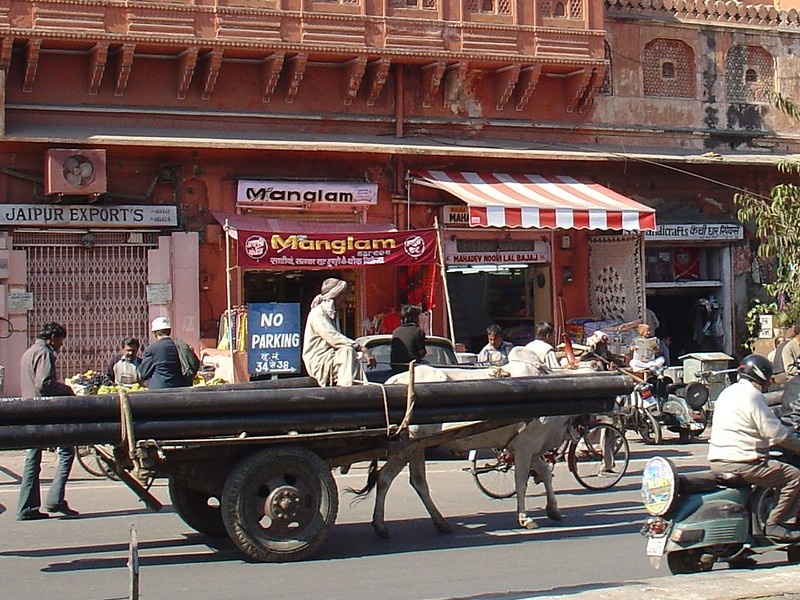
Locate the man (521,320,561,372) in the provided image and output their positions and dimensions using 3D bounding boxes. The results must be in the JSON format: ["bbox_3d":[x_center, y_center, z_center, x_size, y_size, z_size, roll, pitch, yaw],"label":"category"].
[{"bbox_3d":[2.275,0.740,21.593,0.312,1.006,0.496,-11,14,-43],"label":"man"}]

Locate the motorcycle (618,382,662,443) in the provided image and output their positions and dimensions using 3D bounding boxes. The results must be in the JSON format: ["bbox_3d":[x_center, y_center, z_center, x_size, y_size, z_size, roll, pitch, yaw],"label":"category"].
[{"bbox_3d":[4.114,1.897,23.233,0.590,0.957,1.507,20,-7,9],"label":"motorcycle"}]

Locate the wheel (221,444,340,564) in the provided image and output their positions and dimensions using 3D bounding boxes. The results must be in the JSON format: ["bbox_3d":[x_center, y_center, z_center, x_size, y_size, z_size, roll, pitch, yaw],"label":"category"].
[{"bbox_3d":[-1.500,2.484,16.597,1.321,1.376,0.510,5,-3,-15],"label":"wheel"}]

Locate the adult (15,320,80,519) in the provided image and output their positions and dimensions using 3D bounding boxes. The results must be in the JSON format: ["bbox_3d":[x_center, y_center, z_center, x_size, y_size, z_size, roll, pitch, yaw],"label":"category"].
[{"bbox_3d":[-4.880,1.656,18.544,0.810,2.741,0.895,0,1,11],"label":"adult"}]

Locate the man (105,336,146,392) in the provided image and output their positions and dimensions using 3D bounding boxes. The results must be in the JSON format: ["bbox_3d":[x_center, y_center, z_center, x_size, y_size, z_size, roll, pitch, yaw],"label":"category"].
[{"bbox_3d":[-4.336,1.050,21.327,0.588,0.873,0.482,11,1,-8],"label":"man"}]

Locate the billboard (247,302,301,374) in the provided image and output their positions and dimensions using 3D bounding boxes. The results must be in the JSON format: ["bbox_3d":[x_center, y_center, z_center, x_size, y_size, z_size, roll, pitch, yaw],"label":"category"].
[{"bbox_3d":[-2.111,0.645,22.359,1.084,1.480,0.064,-1,-1,-11],"label":"billboard"}]

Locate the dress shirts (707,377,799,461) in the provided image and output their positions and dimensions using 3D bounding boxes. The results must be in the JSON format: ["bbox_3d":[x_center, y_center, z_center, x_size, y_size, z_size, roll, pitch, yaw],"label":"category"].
[{"bbox_3d":[4.162,1.490,16.654,1.070,1.032,0.852,4,-3,-15],"label":"dress shirts"}]

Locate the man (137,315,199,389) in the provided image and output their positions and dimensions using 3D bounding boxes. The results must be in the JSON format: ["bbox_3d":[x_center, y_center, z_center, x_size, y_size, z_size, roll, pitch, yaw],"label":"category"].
[{"bbox_3d":[-3.300,1.037,19.523,0.755,1.634,0.825,0,16,-7],"label":"man"}]

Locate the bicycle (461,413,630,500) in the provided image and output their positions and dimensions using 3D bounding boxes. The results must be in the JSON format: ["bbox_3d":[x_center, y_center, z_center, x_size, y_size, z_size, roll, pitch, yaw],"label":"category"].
[{"bbox_3d":[2.174,2.368,19.722,2.242,1.454,1.128,-4,1,0],"label":"bicycle"}]

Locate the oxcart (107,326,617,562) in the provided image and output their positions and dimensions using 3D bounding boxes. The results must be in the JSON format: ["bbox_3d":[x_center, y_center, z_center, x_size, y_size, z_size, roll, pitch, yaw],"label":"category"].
[{"bbox_3d":[-0.252,1.717,18.256,7.151,2.950,2.572,-3,3,-22],"label":"oxcart"}]

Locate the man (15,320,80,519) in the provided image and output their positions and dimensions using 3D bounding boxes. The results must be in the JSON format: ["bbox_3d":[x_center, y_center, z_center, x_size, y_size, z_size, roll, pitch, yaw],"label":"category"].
[{"bbox_3d":[-4.835,1.667,18.572,0.876,2.741,0.898,0,0,29],"label":"man"}]

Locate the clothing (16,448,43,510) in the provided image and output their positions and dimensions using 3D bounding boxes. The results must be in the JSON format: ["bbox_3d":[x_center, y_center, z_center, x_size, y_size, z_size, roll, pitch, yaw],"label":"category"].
[{"bbox_3d":[-4.997,2.464,18.229,0.305,0.918,0.492,-1,-1,-17],"label":"clothing"}]

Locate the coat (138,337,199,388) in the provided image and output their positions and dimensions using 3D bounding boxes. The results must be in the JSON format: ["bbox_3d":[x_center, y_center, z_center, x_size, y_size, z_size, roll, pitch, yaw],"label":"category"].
[{"bbox_3d":[-3.324,0.950,19.312,0.709,0.792,0.458,-9,7,-32],"label":"coat"}]

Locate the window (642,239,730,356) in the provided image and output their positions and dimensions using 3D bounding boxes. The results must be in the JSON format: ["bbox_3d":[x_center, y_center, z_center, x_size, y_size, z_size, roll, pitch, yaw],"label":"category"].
[{"bbox_3d":[5.961,0.071,29.151,2.112,2.545,2.615,-1,-1,-6],"label":"window"}]

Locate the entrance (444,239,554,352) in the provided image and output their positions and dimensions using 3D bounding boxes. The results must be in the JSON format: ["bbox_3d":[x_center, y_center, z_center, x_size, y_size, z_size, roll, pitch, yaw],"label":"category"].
[{"bbox_3d":[2.070,-0.157,28.076,2.359,2.314,1.718,-1,-1,-1],"label":"entrance"}]

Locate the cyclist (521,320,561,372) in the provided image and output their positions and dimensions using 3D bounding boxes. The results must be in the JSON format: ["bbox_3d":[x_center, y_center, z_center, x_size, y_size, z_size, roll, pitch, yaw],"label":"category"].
[{"bbox_3d":[2.275,0.740,21.593,0.312,1.006,0.496,-11,14,-43],"label":"cyclist"}]

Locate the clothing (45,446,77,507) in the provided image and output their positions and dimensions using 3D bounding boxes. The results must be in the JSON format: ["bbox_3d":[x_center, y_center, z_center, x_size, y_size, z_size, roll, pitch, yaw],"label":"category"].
[{"bbox_3d":[-4.643,2.322,18.461,0.325,0.988,0.296,6,11,-5],"label":"clothing"}]

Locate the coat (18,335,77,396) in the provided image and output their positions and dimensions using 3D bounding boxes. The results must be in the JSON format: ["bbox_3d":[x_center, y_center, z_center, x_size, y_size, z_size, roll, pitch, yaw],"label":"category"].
[{"bbox_3d":[-4.828,0.952,18.301,0.656,1.113,1.152,-3,5,-32],"label":"coat"}]

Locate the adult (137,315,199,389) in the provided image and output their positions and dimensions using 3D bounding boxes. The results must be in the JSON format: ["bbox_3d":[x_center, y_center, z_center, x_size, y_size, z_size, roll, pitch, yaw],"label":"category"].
[{"bbox_3d":[-3.298,1.069,19.495,0.770,1.655,0.838,-3,13,-10],"label":"adult"}]

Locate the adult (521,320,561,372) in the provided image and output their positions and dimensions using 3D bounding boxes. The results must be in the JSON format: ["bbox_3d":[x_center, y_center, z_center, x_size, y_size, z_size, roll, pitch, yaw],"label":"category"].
[{"bbox_3d":[2.275,0.740,21.593,0.312,1.006,0.496,-11,14,-43],"label":"adult"}]

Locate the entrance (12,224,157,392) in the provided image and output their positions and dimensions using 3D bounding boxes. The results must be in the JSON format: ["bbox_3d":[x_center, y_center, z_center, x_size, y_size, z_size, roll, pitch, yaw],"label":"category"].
[{"bbox_3d":[-5.442,0.134,22.903,2.820,3.566,0.197,0,3,-14],"label":"entrance"}]
